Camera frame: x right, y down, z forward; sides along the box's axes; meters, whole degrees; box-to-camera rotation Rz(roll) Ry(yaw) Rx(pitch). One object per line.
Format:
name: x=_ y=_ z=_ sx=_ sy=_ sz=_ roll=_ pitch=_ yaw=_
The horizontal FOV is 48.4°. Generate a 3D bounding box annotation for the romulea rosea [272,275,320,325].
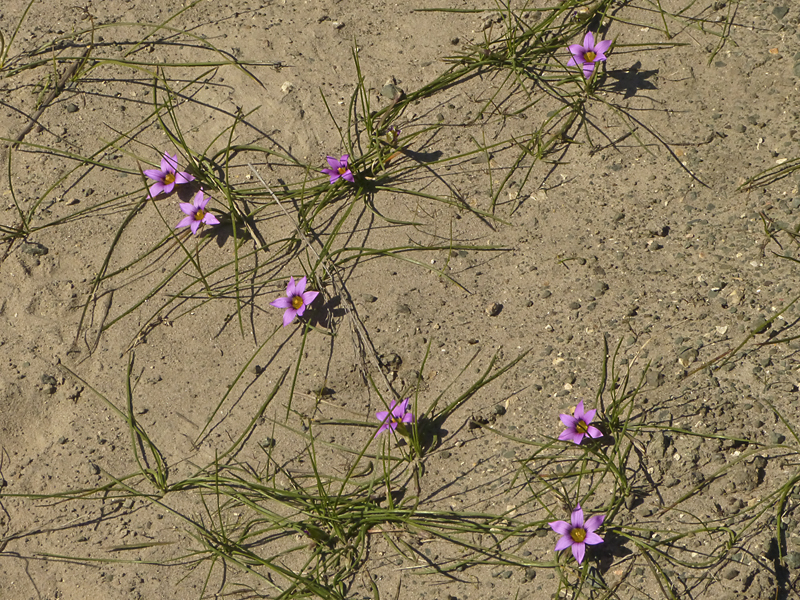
romulea rosea: x=-0.592 y=-0.001 z=5.089 sx=0.208 sy=0.101 sz=0.310 roll=-18 pitch=71 yaw=18

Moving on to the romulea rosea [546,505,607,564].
romulea rosea: x=0.922 y=1.205 z=4.612 sx=0.239 sy=0.105 sz=0.306 roll=5 pitch=83 yaw=10

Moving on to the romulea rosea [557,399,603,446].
romulea rosea: x=0.965 y=0.666 z=4.795 sx=0.248 sy=0.172 sz=0.203 roll=-15 pitch=48 yaw=1

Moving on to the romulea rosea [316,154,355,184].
romulea rosea: x=-0.361 y=-0.756 z=5.216 sx=0.175 sy=0.136 sz=0.158 roll=-22 pitch=49 yaw=-5

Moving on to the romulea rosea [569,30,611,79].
romulea rosea: x=1.091 y=-1.438 z=5.144 sx=0.228 sy=0.157 sz=0.319 roll=-1 pitch=22 yaw=16
